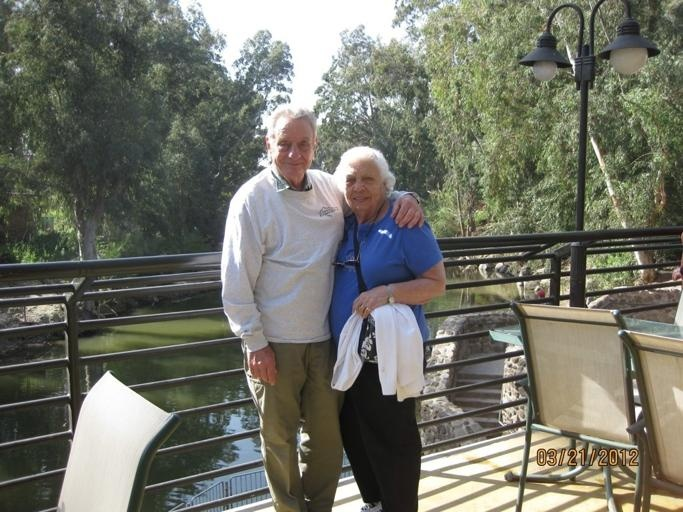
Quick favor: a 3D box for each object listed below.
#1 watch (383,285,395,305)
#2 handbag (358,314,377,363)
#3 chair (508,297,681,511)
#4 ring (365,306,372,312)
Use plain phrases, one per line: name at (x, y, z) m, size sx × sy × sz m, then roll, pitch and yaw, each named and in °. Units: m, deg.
watch at (0.226, 0.183, 2.731) m, size 0.048 × 0.075 × 0.078 m, roll -9°, pitch -35°, yaw -17°
handbag at (0.123, 0.385, 2.712) m, size 0.076 × 0.239 × 0.173 m, roll 2°, pitch 7°, yaw -5°
chair at (1.486, 0.628, 3.090) m, size 0.621 × 1.324 × 0.879 m, roll 4°, pitch 6°, yaw 37°
ring at (0.129, 0.250, 2.714) m, size 0.032 × 0.021 × 0.008 m, roll -4°, pitch 1°, yaw -3°
